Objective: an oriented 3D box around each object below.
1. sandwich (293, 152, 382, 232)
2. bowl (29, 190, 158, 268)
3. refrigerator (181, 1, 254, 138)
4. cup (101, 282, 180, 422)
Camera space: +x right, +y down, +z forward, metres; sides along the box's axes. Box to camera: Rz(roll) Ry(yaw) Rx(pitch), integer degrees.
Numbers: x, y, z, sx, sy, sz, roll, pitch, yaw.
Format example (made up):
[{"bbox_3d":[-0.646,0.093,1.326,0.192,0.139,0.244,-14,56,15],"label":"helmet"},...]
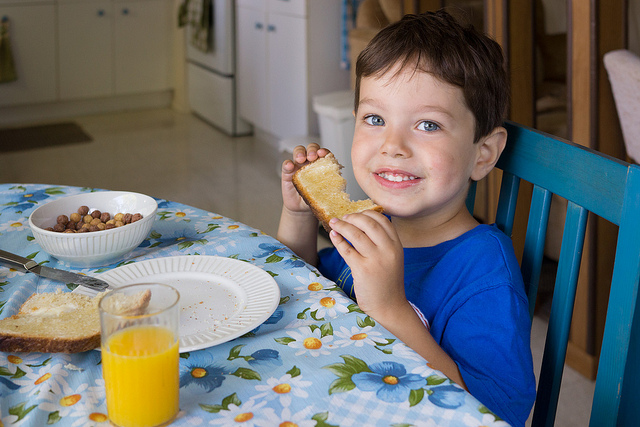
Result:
[{"bbox_3d":[0.033,-0.050,0.934,0.136,0.056,0.203,-23,57,-8],"label":"sandwich"},{"bbox_3d":[-0.432,0.046,0.892,0.172,0.086,0.182,-2,17,1],"label":"bowl"},{"bbox_3d":[-0.262,-0.347,1.152,0.145,0.321,0.081,-13,26,-25],"label":"refrigerator"},{"bbox_3d":[-0.209,0.166,0.557,0.094,0.142,0.090,-1,23,0],"label":"cup"}]
